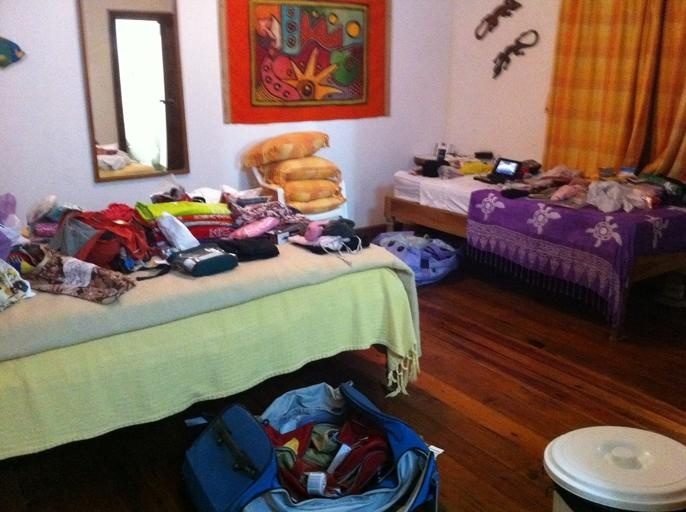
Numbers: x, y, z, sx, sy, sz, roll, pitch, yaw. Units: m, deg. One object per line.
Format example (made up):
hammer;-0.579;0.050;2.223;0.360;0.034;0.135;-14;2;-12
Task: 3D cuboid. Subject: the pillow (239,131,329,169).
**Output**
pillow;-0.424;-0.867;4.018;0.407;0.128;0.423;-20;3;-34

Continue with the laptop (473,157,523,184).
laptop;1.292;-0.675;4.087;0.264;0.157;0.260;-13;24;-29

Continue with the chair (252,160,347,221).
chair;-0.283;-0.559;3.973;0.473;0.320;0.611;-11;23;-32

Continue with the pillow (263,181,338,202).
pillow;-0.249;-0.519;3.992;0.517;0.159;0.142;-15;23;-30

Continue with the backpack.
backpack;0.643;0.021;4.031;0.527;0.186;0.464;-8;23;-35
